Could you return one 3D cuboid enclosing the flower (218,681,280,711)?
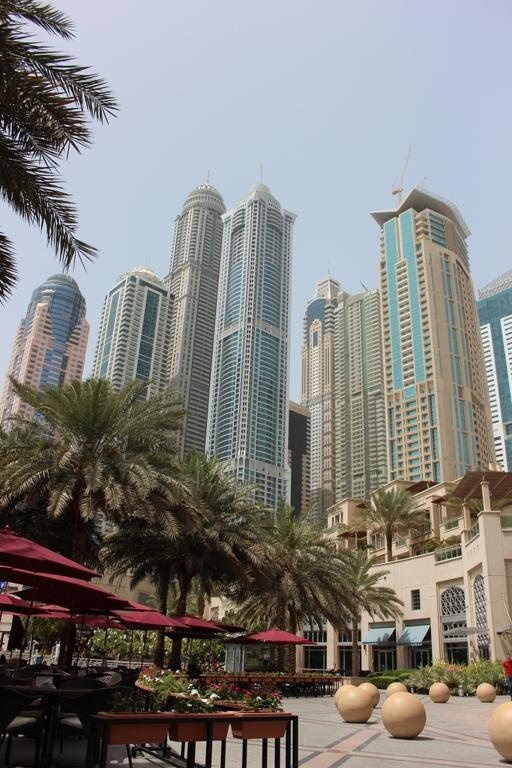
[{"bbox_3d":[-0.104,3.849,7.622,0.853,0.255,0.819,22,-30,-40],"label":"flower"}]
